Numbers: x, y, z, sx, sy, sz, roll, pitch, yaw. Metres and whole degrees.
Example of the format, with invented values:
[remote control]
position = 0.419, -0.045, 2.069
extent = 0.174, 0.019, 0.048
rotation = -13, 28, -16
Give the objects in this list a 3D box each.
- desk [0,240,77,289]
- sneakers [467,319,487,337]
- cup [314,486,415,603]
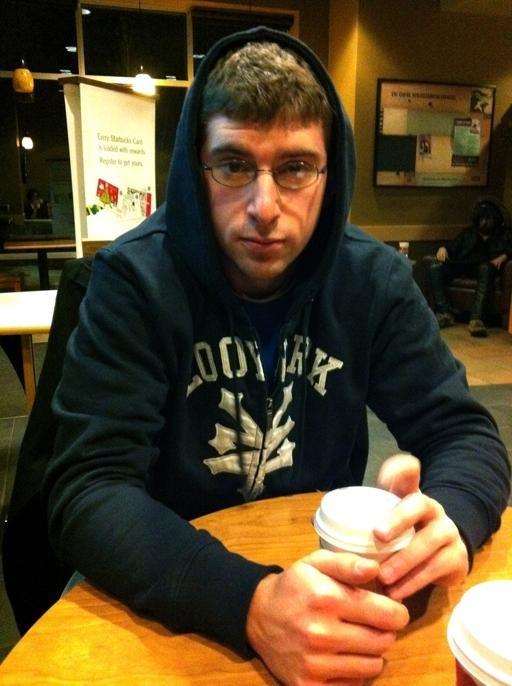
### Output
[desk]
position = -2.804, -0.983, 7.340
extent = 0.888, 0.815, 0.861
rotation = -1, 24, -6
[sneakers]
position = 2.258, -0.160, 5.671
extent = 0.131, 0.094, 0.237
rotation = 7, 22, 14
[cup]
position = 0.129, 0.220, 0.670
extent = 0.115, 0.065, 0.102
rotation = -6, 15, -30
